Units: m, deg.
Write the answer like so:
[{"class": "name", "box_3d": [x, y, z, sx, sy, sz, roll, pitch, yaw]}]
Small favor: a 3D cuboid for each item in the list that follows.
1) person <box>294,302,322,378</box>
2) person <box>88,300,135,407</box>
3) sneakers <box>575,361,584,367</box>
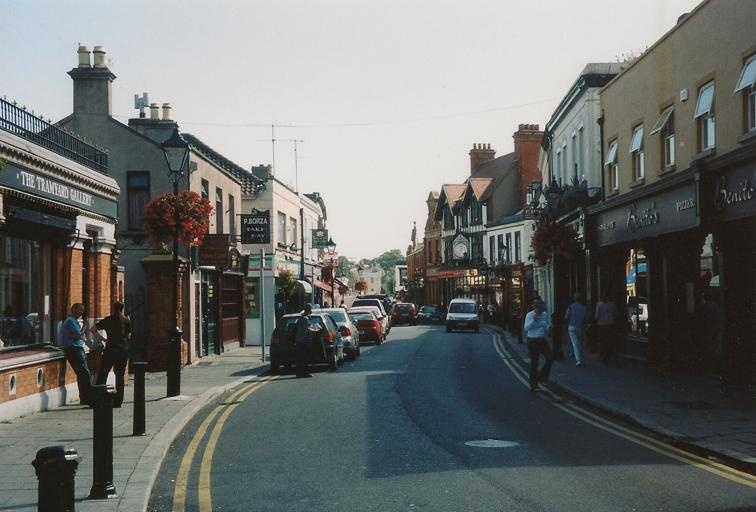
[{"class": "person", "box_3d": [-2.127, 2.393, 28.329, 0.497, 2.010, 0.781, -2, -7, -6]}, {"class": "person", "box_3d": [-6.409, 2.342, 23.936, 0.763, 2.558, 1.565, -1, -8, -15]}, {"class": "sneakers", "box_3d": [5.914, 3.160, 29.458, 0.279, 0.163, 0.269, -7, -9, 22]}]
